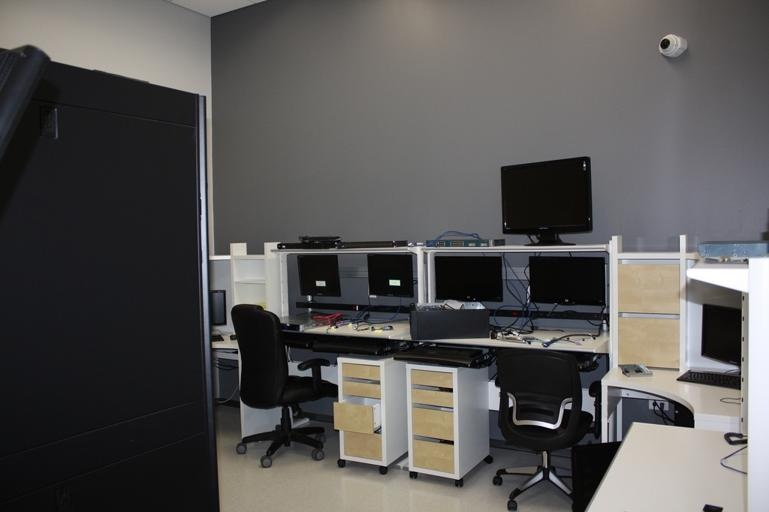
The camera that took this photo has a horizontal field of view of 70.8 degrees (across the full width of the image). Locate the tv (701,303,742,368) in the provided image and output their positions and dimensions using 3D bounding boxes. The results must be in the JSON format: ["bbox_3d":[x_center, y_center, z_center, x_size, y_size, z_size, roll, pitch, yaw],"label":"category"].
[{"bbox_3d":[2.041,0.481,3.284,0.355,0.334,0.027,13,-10,-21],"label":"tv"}]

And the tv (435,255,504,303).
[{"bbox_3d":[0.674,0.183,4.344,0.547,0.377,0.031,0,-7,-5],"label":"tv"}]

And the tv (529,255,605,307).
[{"bbox_3d":[1.323,0.179,3.970,0.561,0.390,0.047,1,4,32],"label":"tv"}]

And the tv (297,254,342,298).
[{"bbox_3d":[-0.593,0.173,5.020,0.406,0.383,0.045,0,3,27],"label":"tv"}]

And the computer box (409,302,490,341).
[{"bbox_3d":[0.474,0.500,4.016,0.419,0.182,0.307,0,4,8],"label":"computer box"}]

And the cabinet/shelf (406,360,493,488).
[{"bbox_3d":[0.492,1.219,4.063,0.507,0.778,0.590,-5,-7,40],"label":"cabinet/shelf"}]

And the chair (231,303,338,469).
[{"bbox_3d":[-0.816,0.990,4.329,0.769,1.284,0.589,-3,4,-16],"label":"chair"}]

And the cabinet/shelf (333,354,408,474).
[{"bbox_3d":[-0.079,1.223,4.266,0.505,0.776,0.718,-3,-9,16],"label":"cabinet/shelf"}]

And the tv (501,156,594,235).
[{"bbox_3d":[1.184,-0.428,3.919,0.594,0.507,0.083,-1,4,36],"label":"tv"}]

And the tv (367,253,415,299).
[{"bbox_3d":[0.064,0.154,4.639,0.370,0.317,0.050,5,12,32],"label":"tv"}]

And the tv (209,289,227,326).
[{"bbox_3d":[-1.663,0.508,5.269,0.261,0.355,0.260,-1,-7,-19],"label":"tv"}]

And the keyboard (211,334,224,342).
[{"bbox_3d":[-1.537,0.746,5.012,0.099,0.024,0.422,-4,4,-19],"label":"keyboard"}]
